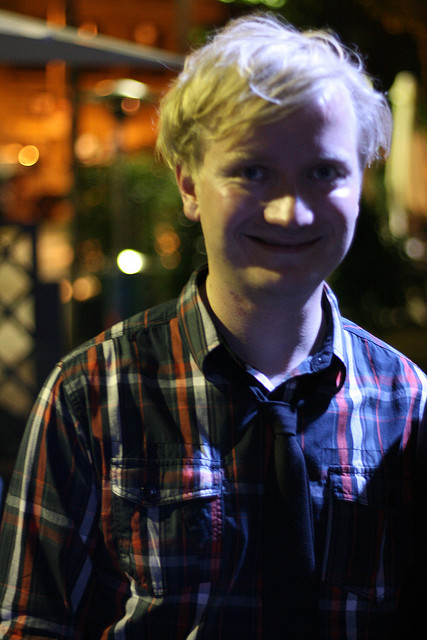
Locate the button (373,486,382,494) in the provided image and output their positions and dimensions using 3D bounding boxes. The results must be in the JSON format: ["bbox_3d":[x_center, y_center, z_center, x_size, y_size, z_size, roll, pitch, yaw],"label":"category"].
[{"bbox_3d":[0.335,0.351,1.589,0.020,0.015,0.004,1,-4,-2],"label":"button"}]

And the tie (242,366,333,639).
[{"bbox_3d":[0.130,0.376,1.507,0.115,0.491,0.176,-4,10,0],"label":"tie"}]

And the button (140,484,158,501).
[{"bbox_3d":[-0.129,0.344,1.527,0.032,0.025,0.028,1,-25,3],"label":"button"}]
